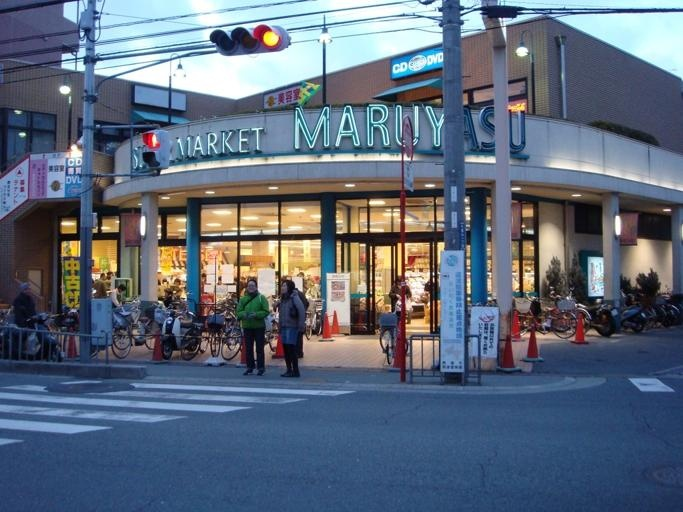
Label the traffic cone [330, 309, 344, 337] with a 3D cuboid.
[{"bbox_3d":[-0.188,2.277,24.771,0.571,0.929,0.622,-2,1,16],"label":"traffic cone"}]

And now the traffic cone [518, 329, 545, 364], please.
[{"bbox_3d":[4.898,2.254,18.557,0.633,0.974,0.753,0,-6,-1],"label":"traffic cone"}]

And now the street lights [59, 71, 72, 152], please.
[{"bbox_3d":[-13.713,-7.369,37.333,0.844,3.542,0.541,-4,17,-41],"label":"street lights"}]

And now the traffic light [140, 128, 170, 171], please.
[{"bbox_3d":[-4.568,-2.654,18.364,0.606,1.025,0.469,0,-2,-23],"label":"traffic light"}]

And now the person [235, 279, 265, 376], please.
[{"bbox_3d":[-2.063,1.629,17.343,0.698,2.232,0.952,0,-2,-10],"label":"person"}]

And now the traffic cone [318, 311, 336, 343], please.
[{"bbox_3d":[-0.606,2.315,23.862,0.632,1.020,0.687,-1,-5,-2],"label":"traffic cone"}]

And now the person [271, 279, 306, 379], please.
[{"bbox_3d":[-1.131,1.637,16.914,0.617,2.187,0.613,-1,-2,12],"label":"person"}]

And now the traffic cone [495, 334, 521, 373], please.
[{"bbox_3d":[3.896,2.254,17.386,0.494,0.841,0.801,-1,-2,14],"label":"traffic cone"}]

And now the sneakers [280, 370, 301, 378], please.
[{"bbox_3d":[-1.140,2.627,16.697,0.416,0.196,0.163,3,-3,18],"label":"sneakers"}]

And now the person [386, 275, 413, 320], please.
[{"bbox_3d":[1.928,1.543,24.409,0.590,1.949,0.508,-3,26,-3],"label":"person"}]

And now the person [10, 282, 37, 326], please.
[{"bbox_3d":[-7.946,1.224,18.705,0.483,1.111,1.066,0,-2,-26],"label":"person"}]

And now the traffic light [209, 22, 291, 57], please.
[{"bbox_3d":[-1.776,-4.250,14.570,1.783,0.596,0.447,-2,-2,33],"label":"traffic light"}]
